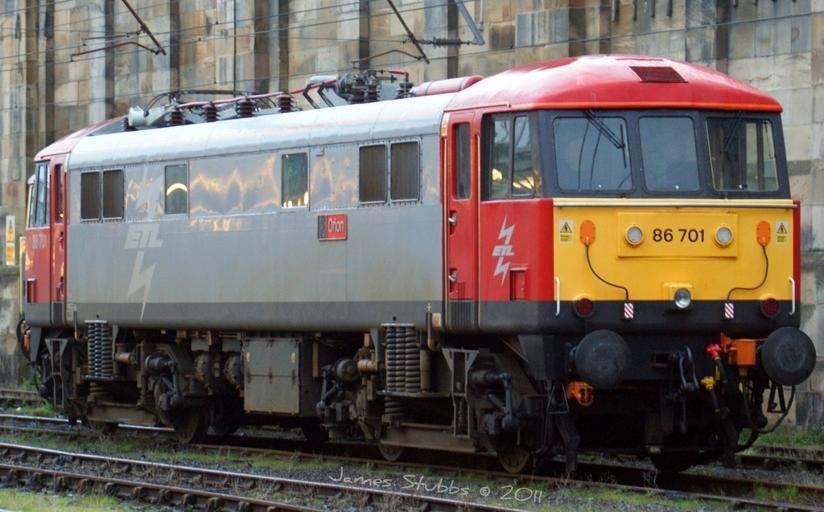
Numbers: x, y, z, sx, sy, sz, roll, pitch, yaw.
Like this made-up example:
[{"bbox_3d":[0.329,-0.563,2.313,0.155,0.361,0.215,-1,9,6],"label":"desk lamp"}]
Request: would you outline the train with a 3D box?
[{"bbox_3d":[-2.253,0.216,19.771,5.803,7.098,17.895,2,-3,-37],"label":"train"}]
